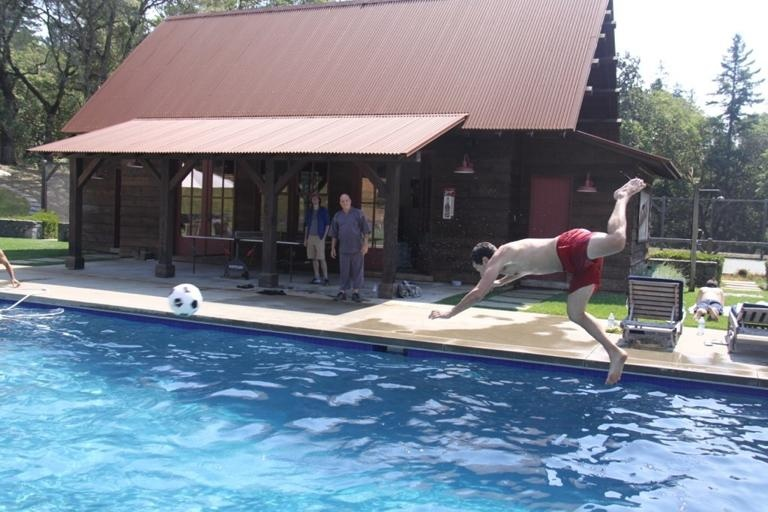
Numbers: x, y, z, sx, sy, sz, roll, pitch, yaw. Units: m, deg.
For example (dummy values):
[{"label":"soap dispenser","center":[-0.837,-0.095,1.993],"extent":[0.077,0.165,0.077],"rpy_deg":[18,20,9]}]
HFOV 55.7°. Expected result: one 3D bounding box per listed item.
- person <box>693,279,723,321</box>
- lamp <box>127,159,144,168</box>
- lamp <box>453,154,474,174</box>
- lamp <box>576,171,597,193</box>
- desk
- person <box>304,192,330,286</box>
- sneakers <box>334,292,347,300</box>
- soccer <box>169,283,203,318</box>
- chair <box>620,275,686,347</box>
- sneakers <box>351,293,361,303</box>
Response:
[{"label":"person","center":[6.844,1.119,15.341],"extent":[0.529,0.508,1.315],"rpy_deg":[1,25,20]},{"label":"lamp","center":[-7.085,-2.653,20.785],"extent":[0.654,0.153,0.666],"rpy_deg":[0,2,-13]},{"label":"lamp","center":[1.993,-2.351,18.558],"extent":[0.520,0.511,0.539],"rpy_deg":[0,-2,13]},{"label":"lamp","center":[5.039,-1.859,18.342],"extent":[0.544,0.511,0.501],"rpy_deg":[2,-2,-25]},{"label":"desk","center":[-3.927,-0.086,20.549],"extent":[3.083,1.238,6.631],"rpy_deg":[1,2,-18]},{"label":"person","center":[-1.669,-0.407,18.474],"extent":[0.554,2.236,0.776],"rpy_deg":[1,1,-12]},{"label":"sneakers","center":[-0.961,0.893,16.094],"extent":[0.246,0.181,0.344],"rpy_deg":[2,2,2]},{"label":"soccer","center":[-3.815,0.876,13.958],"extent":[0.558,0.612,0.337],"rpy_deg":[1,1,-16]},{"label":"chair","center":[4.998,0.971,13.433],"extent":[0.914,0.977,1.570],"rpy_deg":[7,27,22]},{"label":"sneakers","center":[-0.605,0.909,16.097],"extent":[0.234,0.218,0.452],"rpy_deg":[1,2,-3]}]
